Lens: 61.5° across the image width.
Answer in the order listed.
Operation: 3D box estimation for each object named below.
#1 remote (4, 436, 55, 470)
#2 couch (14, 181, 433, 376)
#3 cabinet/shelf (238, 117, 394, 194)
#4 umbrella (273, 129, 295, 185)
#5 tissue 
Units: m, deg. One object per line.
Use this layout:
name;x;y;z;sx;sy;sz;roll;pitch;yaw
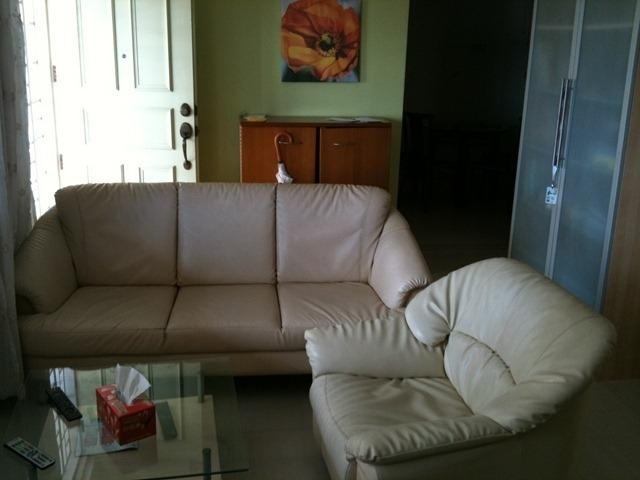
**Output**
remote;-1.130;0.833;2.095;0.238;0.048;0.062;9;19;27
couch;-0.623;0.158;3.173;2.309;1.012;1.035;-2;27;-3
cabinet/shelf;-0.027;-0.745;4.550;1.187;0.661;0.572;0;18;-8
umbrella;-0.313;-0.703;4.536;0.127;0.418;0.114;-12;21;-35
tissue ;-0.814;0.668;2.248;0.229;0.252;0.273;-8;19;-25
